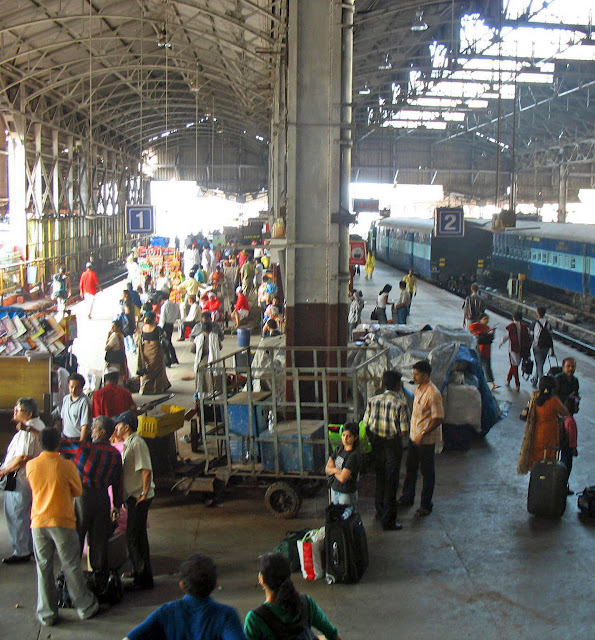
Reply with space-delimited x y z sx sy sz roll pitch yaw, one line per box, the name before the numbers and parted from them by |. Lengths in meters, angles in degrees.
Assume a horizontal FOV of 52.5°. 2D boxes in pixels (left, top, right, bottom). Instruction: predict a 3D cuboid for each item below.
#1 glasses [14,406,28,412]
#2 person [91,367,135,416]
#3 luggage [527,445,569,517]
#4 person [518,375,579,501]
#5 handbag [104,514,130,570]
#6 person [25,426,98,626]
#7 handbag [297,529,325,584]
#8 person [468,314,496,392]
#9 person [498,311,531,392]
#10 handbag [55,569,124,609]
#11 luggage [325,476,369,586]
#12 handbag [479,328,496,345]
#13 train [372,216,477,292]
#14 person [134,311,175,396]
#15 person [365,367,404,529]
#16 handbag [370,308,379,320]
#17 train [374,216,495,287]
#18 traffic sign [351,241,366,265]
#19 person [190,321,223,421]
glasses | -2.557 0.827 5.530 0.086 0.035 0.103 2 7 -10
person | -2.299 1.021 7.441 0.455 0.903 0.367 -5 21 -22
luggage | 2.834 1.835 6.877 0.377 0.813 0.383 8 31 30
person | 2.916 1.407 7.195 0.505 1.614 0.445 -2 15 9
handbag | -1.639 2.020 5.302 0.136 0.589 0.345 2 1 9
person | -1.773 1.554 4.505 0.500 1.508 0.335 0 1 -31
handbag | 0.126 2.198 5.562 0.171 0.444 0.376 -3 -9 15
person | 3.814 0.682 12.482 0.745 1.551 0.408 -1 1 -43
person | 4.565 0.664 12.563 0.565 1.683 1.085 0 1 25
handbag | -1.665 2.193 4.866 0.325 0.220 0.296 0 -2 -1
luggage | 0.436 2.048 5.499 0.388 0.606 0.440 0 1 4
handbag | 3.965 0.339 12.524 0.222 0.328 0.698 1 2 36
train | 7.639 -4.271 36.611 2.351 2.770 9.635 -2 11 -7
person | -3.101 0.583 12.733 0.713 2.027 0.628 -10 39 -23
person | 0.977 1.505 6.491 0.497 1.611 0.369 0 0 30
handbag | 2.555 -0.177 20.034 0.245 0.335 0.497 4 12 -3
train | 7.729 -4.521 37.361 2.394 3.232 11.255 -1 11 -7
traffic sign | 1.895 -2.146 19.126 0.527 1.089 0.089 1 -6 2
person | -1.848 0.733 11.907 0.521 1.967 0.573 -9 41 -23
